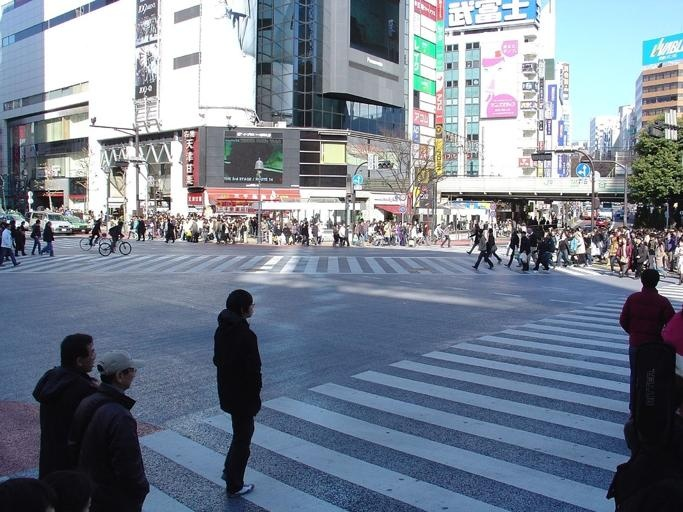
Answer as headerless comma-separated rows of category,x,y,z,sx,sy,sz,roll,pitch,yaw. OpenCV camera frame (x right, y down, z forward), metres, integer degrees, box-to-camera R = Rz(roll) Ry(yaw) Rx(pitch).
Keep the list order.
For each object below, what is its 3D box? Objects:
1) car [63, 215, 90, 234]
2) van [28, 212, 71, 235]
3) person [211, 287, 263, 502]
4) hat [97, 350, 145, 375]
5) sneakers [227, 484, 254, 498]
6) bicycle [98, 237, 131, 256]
car,-23.479,-2.844,56.341,1.347,1.114,2.941,-2,4,-40
van,-21.280,-2.423,45.875,3.762,1.936,2.314,3,3,30
person,-1.027,1.328,6.265,0.379,1.985,0.424,-2,5,-29
hat,-1.712,0.818,4.868,0.261,0.116,0.171,0,9,-28
sneakers,-0.982,2.290,6.204,0.249,0.119,0.093,-13,24,-31
bicycle,-11.636,-0.497,32.331,1.829,1.284,0.942,-2,13,-24
